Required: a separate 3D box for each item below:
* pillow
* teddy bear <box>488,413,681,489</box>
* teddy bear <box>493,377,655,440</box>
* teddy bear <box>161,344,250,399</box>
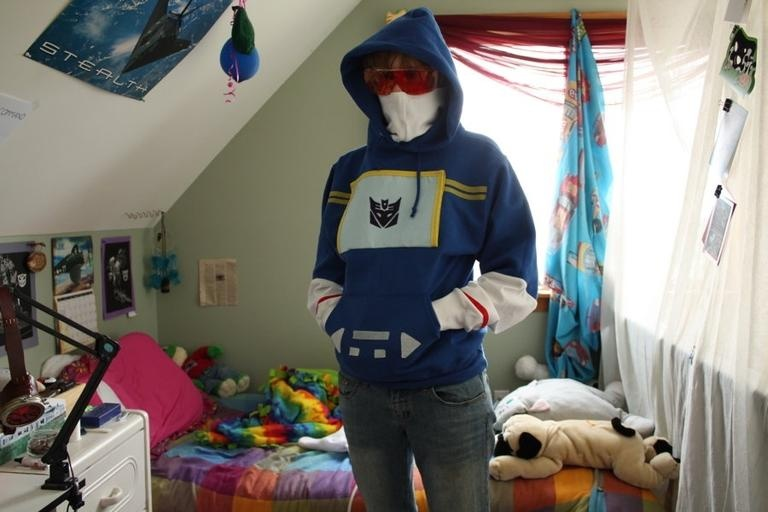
[{"bbox_3d":[-1.307,0.806,3.162,0.643,0.195,0.659,49,6,33],"label":"pillow"},{"bbox_3d":[0.930,0.832,2.726,0.670,0.243,0.427,1,-3,6],"label":"teddy bear"},{"bbox_3d":[1.028,0.841,3.213,0.818,0.260,0.677,-2,0,6],"label":"teddy bear"},{"bbox_3d":[-1.177,0.750,3.654,0.535,0.179,0.372,22,22,15],"label":"teddy bear"}]
